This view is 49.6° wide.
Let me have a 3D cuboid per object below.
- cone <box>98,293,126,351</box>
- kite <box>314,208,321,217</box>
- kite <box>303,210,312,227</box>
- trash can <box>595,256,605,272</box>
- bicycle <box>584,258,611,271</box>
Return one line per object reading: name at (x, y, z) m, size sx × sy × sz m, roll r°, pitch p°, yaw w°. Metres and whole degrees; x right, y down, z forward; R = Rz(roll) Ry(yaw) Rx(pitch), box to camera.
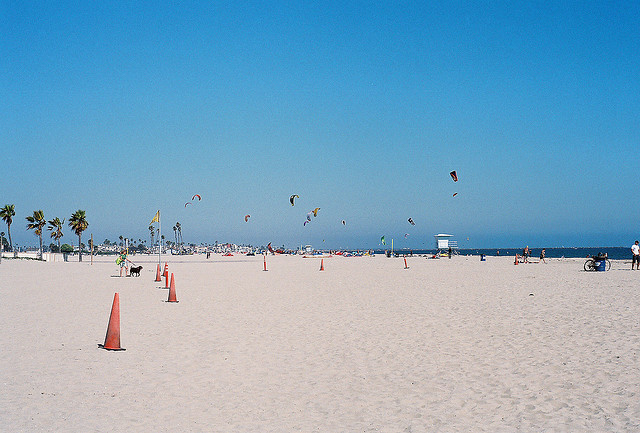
cone at (-4.789, 2.381, 15.975) m, size 0.576 × 1.319 × 0.778 m, roll -1°, pitch 1°, yaw -20°
kite at (-0.385, -0.620, 77.397) m, size 1.017 × 1.054 × 0.367 m, roll -17°, pitch 33°, yaw -36°
kite at (-0.588, 0.118, 33.435) m, size 0.209 × 0.830 × 0.289 m, roll 11°, pitch -21°, yaw 5°
trash can at (15.031, 2.526, 37.384) m, size 0.474 × 0.772 × 0.922 m, roll 0°, pitch 1°, yaw 22°
bicycle at (15.312, 2.688, 38.401) m, size 1.314 × 0.849 × 0.696 m, roll 2°, pitch -13°, yaw -7°
